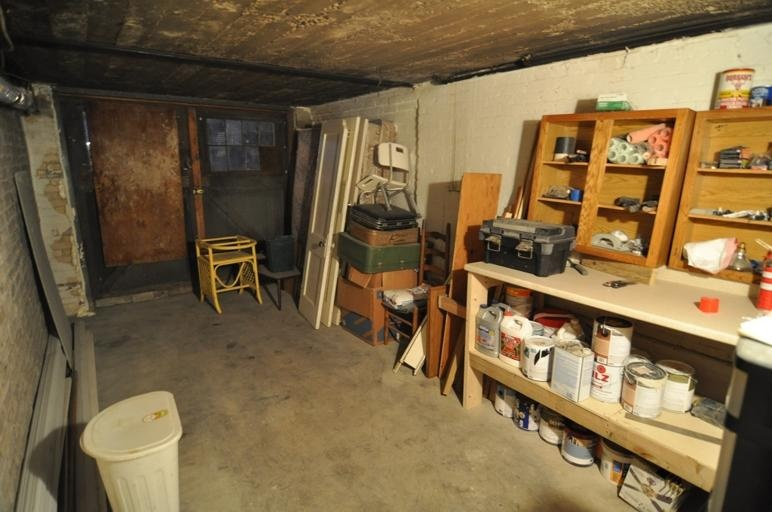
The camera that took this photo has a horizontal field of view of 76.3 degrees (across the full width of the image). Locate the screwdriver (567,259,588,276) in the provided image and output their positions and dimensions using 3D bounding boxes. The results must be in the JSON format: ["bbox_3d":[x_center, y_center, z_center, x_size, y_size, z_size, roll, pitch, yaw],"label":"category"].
[{"bbox_3d":[1.598,0.086,4.115,0.064,0.065,0.233,37,13,-14],"label":"screwdriver"}]

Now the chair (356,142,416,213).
[{"bbox_3d":[0.042,-0.898,5.690,0.651,0.799,0.793,-10,19,-34],"label":"chair"}]

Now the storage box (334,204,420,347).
[{"bbox_3d":[-0.079,0.194,5.551,1.006,1.490,0.687,1,17,-2],"label":"storage box"}]

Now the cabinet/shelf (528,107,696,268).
[{"bbox_3d":[1.850,-0.536,3.932,0.440,1.307,1.287,-5,14,-36],"label":"cabinet/shelf"}]
